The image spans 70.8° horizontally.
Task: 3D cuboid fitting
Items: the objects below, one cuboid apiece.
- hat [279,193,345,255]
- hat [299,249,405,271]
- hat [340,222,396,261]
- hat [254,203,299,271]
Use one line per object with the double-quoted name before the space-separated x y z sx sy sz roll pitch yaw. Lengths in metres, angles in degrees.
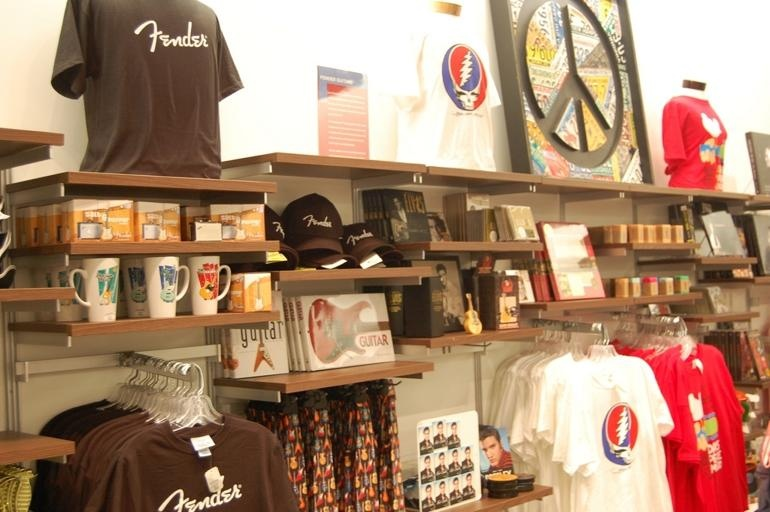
"hat" -0.368 -0.188 2.770 0.358 0.240 0.438 8 25 -14
"hat" -0.161 0.026 2.686 0.321 0.088 0.188 -13 -8 20
"hat" -0.095 -0.062 2.787 0.167 0.141 0.267 -23 23 -25
"hat" -0.513 -0.085 2.550 0.101 0.277 0.216 -13 -5 30
